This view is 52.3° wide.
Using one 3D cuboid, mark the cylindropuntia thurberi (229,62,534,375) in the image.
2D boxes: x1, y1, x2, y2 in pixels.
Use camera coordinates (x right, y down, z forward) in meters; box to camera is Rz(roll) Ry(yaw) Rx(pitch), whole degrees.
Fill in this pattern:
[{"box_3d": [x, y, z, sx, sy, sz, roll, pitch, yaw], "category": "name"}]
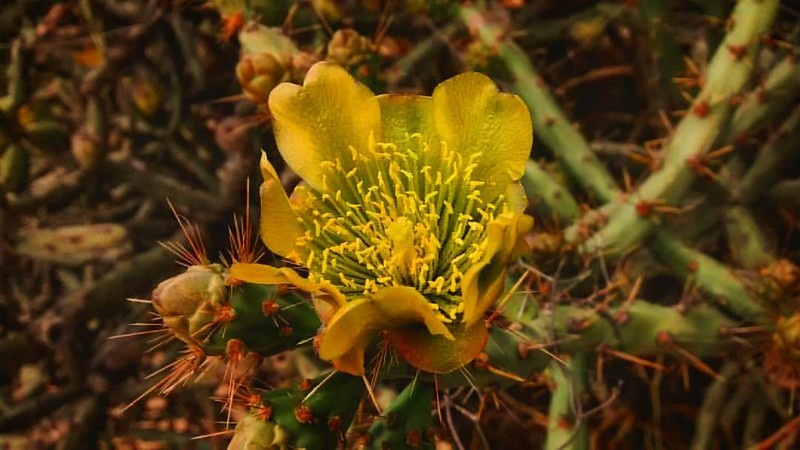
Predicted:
[{"box_3d": [-0.018, -0.008, 1.686, 0.570, 0.321, 0.605, 8, 62, 7], "category": "cylindropuntia thurberi"}]
